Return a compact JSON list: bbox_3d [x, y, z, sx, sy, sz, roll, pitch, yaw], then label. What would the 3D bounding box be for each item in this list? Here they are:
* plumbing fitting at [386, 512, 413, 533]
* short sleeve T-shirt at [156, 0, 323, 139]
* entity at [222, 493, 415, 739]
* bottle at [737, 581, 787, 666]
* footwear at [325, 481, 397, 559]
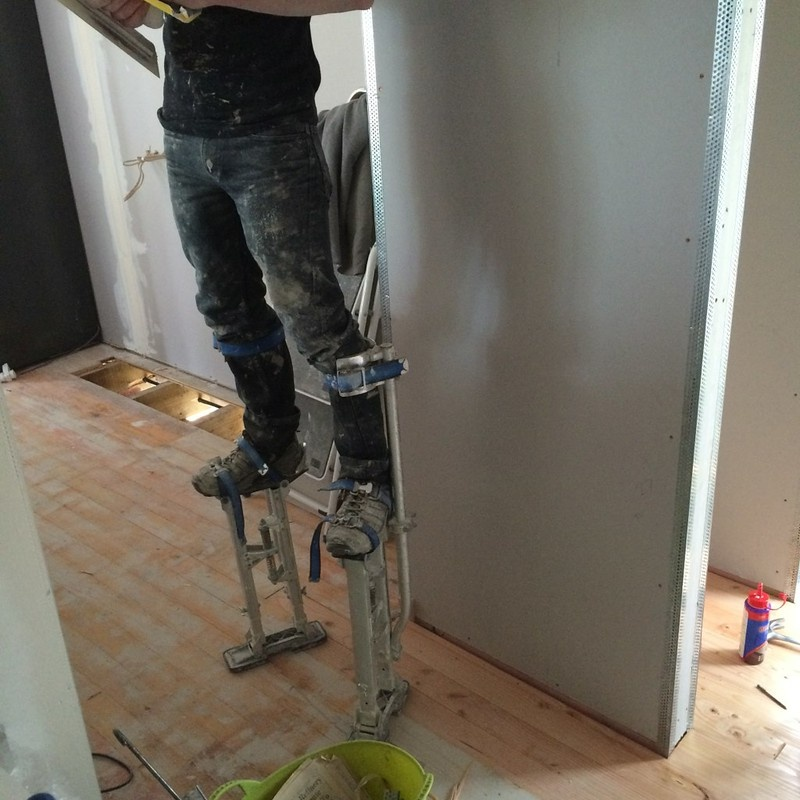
[{"bbox_3d":[-0.007,0.282,1.832,0.049,0.024,0.061,1,12,1],"label":"plumbing fitting"},{"bbox_3d":[-0.337,-0.668,1.637,0.338,0.241,0.192,-6,22,-8],"label":"short sleeve T-shirt"},{"bbox_3d":[-0.220,0.604,2.130,0.541,0.468,0.252,19,32,41],"label":"entity"},{"bbox_3d":[0.982,0.619,2.178,0.098,0.229,0.068,10,22,30],"label":"bottle"},{"bbox_3d":[-0.093,0.239,1.776,0.128,0.096,0.253,8,26,11],"label":"footwear"}]
